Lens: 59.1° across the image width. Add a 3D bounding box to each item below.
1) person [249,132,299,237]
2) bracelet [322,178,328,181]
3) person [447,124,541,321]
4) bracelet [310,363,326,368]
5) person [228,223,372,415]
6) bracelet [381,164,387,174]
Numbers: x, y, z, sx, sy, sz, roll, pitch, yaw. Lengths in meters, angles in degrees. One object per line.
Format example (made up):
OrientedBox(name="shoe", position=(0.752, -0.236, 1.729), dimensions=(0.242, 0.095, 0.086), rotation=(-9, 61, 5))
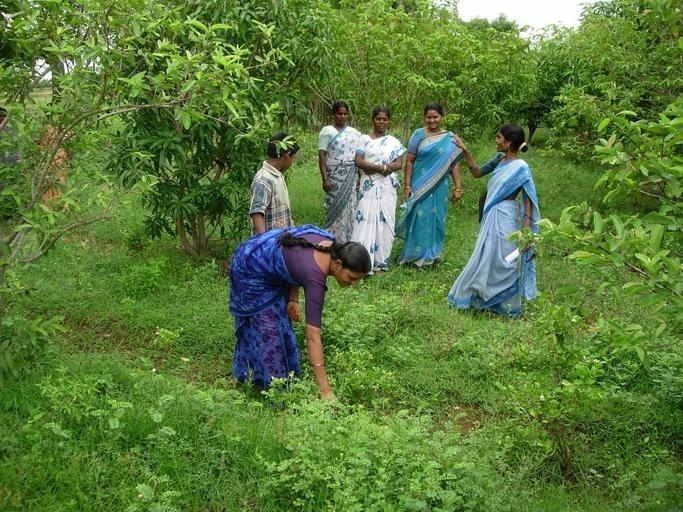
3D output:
OrientedBox(name="person", position=(-0.686, -0.723, 6.084), dimensions=(0.440, 1.020, 0.774), rotation=(4, 2, -8))
OrientedBox(name="bracelet", position=(-0.217, -1.017, 7.989), dimensions=(0.093, 0.026, 0.091), rotation=(1, 31, 2))
OrientedBox(name="person", position=(1.806, -0.396, 6.886), dimensions=(0.947, 1.736, 0.814), rotation=(5, 2, 30))
OrientedBox(name="bracelet", position=(-0.182, 0.846, 4.668), dimensions=(0.104, 0.048, 0.079), rotation=(4, 1, -8))
OrientedBox(name="person", position=(-0.410, 0.513, 5.054), dimensions=(1.105, 1.480, 0.736), rotation=(18, 29, 23))
OrientedBox(name="bracelet", position=(0.551, -1.137, 7.894), dimensions=(0.027, 0.079, 0.068), rotation=(-2, 44, -5))
